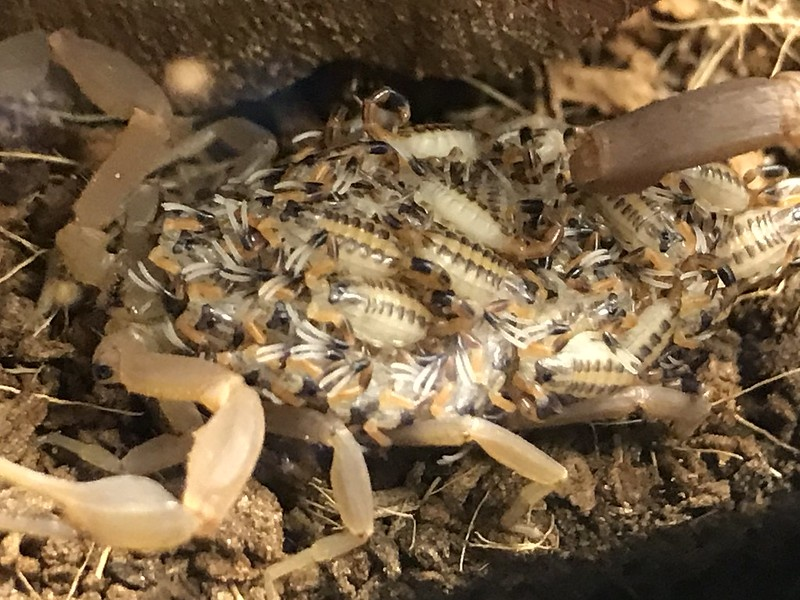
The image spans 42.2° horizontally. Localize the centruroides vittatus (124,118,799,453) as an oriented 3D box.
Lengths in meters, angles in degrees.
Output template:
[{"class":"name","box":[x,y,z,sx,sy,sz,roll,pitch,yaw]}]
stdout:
[{"class":"centruroides vittatus","box":[0.139,-0.005,2.796,1.338,0.408,0.945,2,85,-9]}]
